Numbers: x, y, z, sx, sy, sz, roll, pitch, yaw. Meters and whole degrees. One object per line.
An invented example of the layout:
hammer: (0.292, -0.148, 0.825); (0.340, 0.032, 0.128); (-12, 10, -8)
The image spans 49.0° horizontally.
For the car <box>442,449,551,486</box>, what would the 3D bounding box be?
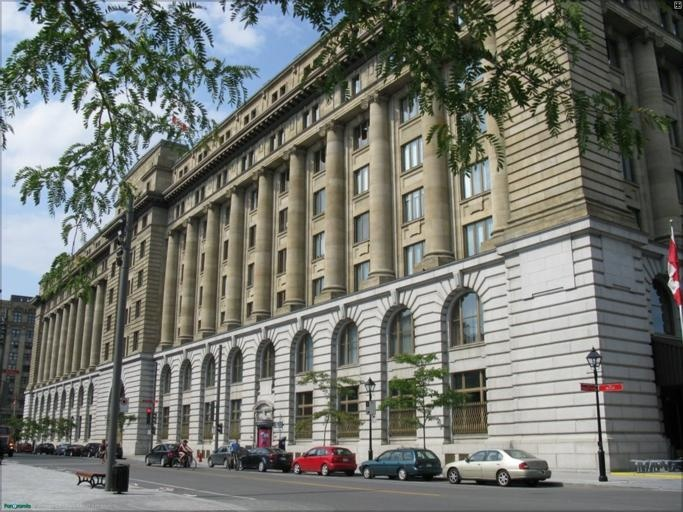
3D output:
car: (6.477, 8.859, 31.409); (4.151, 1.664, 0.876); (-20, -31, 37)

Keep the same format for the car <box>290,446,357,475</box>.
car: (-0.899, 11.027, 40.900); (1.725, 1.137, 3.399); (16, -25, -34)

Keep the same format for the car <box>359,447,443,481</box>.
car: (2.858, 9.876, 36.065); (1.693, 1.205, 3.585); (17, -22, -37)

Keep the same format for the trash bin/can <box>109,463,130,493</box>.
trash bin/can: (-8.106, 8.114, 27.412); (0.613, 1.145, 0.841); (0, -24, 2)
